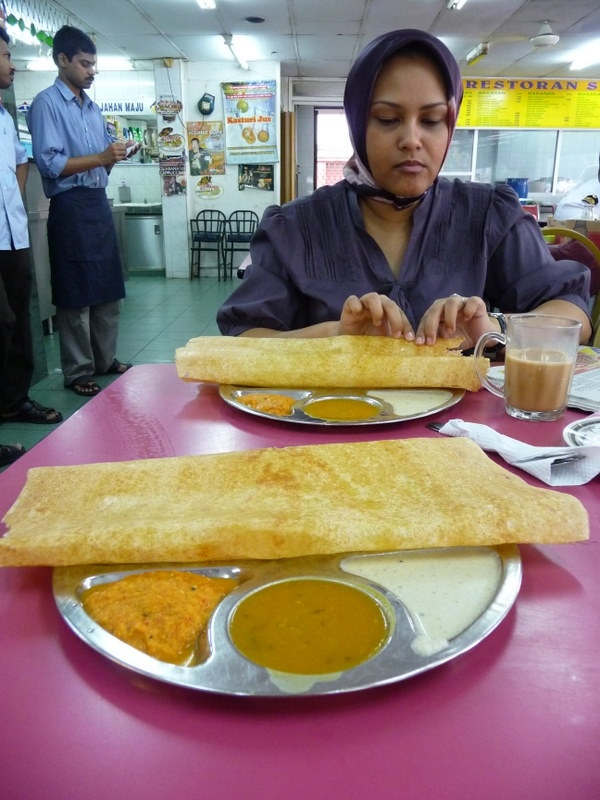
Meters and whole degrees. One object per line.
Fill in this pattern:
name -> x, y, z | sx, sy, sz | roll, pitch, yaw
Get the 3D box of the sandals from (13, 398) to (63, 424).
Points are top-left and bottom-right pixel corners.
sandals -> -1.358, 0.056, 3.029 | 0.311, 0.107, 0.106 | 0, 16, -4

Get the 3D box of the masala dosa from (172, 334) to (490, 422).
masala dosa -> 0.055, -0.048, 1.032 | 0.412, 0.080, 0.221 | -1, 14, -1

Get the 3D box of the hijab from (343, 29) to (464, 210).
hijab -> 0.195, -0.659, 1.406 | 0.301, 0.366, 0.183 | 15, 22, 36

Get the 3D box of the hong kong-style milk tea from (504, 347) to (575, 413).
hong kong-style milk tea -> 0.384, -0.032, 0.983 | 0.123, 0.111, 0.145 | 2, 5, -1

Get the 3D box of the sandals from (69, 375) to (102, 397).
sandals -> -1.264, -0.080, 3.430 | 0.109, 0.066, 0.264 | -14, 20, -39

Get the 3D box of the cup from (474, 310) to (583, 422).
cup -> 0.368, -0.052, 0.968 | 0.174, 0.148, 0.107 | 5, 12, 16
